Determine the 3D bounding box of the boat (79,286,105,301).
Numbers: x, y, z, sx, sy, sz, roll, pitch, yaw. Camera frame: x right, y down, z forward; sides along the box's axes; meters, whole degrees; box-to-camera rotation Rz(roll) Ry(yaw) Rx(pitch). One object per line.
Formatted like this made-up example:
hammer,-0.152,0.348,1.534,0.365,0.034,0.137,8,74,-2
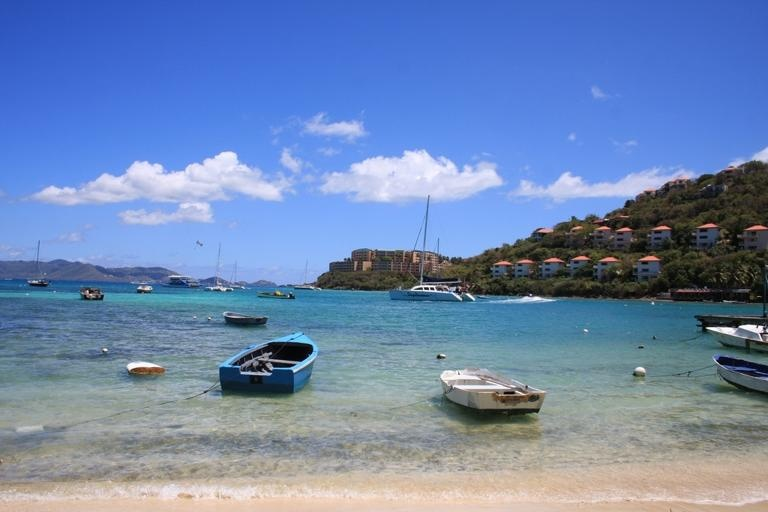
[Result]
boat,-46.038,5.905,86.725,3.020,1.376,7.898,8,0,-37

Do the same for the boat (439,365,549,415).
boat,4.214,5.668,23.057,2.352,1.364,3.745,-3,11,-25

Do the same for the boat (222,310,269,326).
boat,-12.759,5.596,49.259,4.596,0.600,1.535,2,-2,33

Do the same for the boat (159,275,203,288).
boat,-81.616,10.047,226.059,11.075,5.025,15.478,-2,10,-22
